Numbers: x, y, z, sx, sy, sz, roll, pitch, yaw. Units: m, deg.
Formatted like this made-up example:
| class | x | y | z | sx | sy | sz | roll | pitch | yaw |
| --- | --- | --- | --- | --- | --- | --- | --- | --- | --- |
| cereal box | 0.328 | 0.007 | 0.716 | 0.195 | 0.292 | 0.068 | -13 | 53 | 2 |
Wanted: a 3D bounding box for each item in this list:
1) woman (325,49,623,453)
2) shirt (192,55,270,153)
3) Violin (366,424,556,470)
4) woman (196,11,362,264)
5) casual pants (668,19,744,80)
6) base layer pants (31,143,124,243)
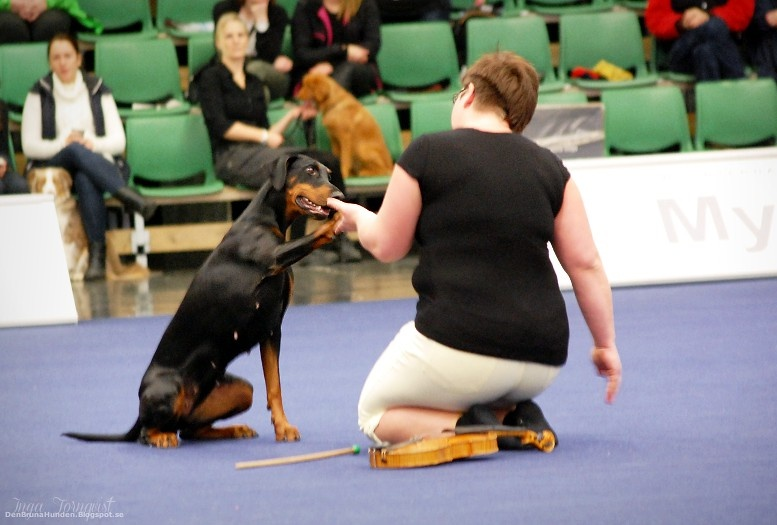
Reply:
| class | x | y | z | sx | sy | sz | roll | pitch | yaw |
| --- | --- | --- | --- | --- | --- | --- | --- | --- | --- |
| woman | 0.583 | 0.003 | 5.947 | 1.297 | 2.348 | 1.195 | 6 | -18 | -16 |
| shirt | -1.323 | -1.361 | 9.038 | 0.592 | 0.836 | 0.420 | -7 | -6 | -36 |
| Violin | 0.424 | 1.001 | 5.477 | 0.693 | 0.164 | 0.152 | -5 | -9 | 1 |
| woman | -0.998 | -1.049 | 8.968 | 1.354 | 2.336 | 0.861 | -6 | -7 | 24 |
| casual pants | 3.229 | -2.024 | 10.146 | 0.705 | 0.390 | 0.535 | 6 | -14 | -35 |
| base layer pants | -2.581 | -0.642 | 8.519 | 0.723 | 0.854 | 0.360 | 18 | 3 | 1 |
